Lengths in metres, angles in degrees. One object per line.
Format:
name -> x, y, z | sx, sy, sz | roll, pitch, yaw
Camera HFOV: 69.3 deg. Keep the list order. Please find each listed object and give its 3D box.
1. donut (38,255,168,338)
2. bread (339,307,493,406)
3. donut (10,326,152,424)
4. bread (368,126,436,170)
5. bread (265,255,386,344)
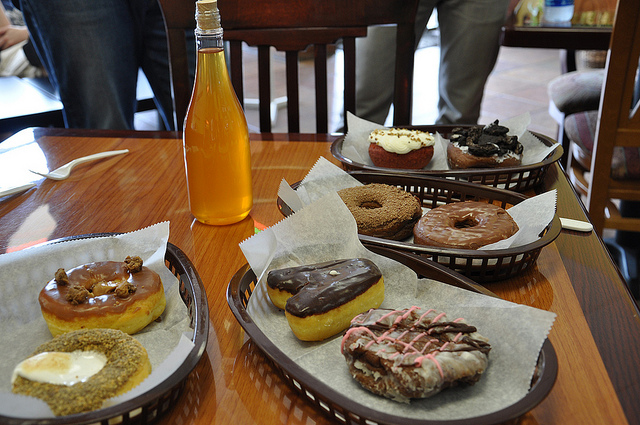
donut -> -0.358, 0.141, 0.766 | 0.173, 0.082, 0.149 | -23, 37, -34
bread -> 0.138, 0.198, 0.667 | 0.148, 0.051, 0.125 | -9, 23, -29
donut -> -0.332, 0.220, 0.643 | 0.170, 0.044, 0.132 | 4, 31, 6
bread -> 0.234, -0.186, 1.282 | 0.136, 0.073, 0.141 | -8, 26, -18
bread -> 0.015, 0.133, 0.764 | 0.144, 0.052, 0.144 | -11, 25, -8
